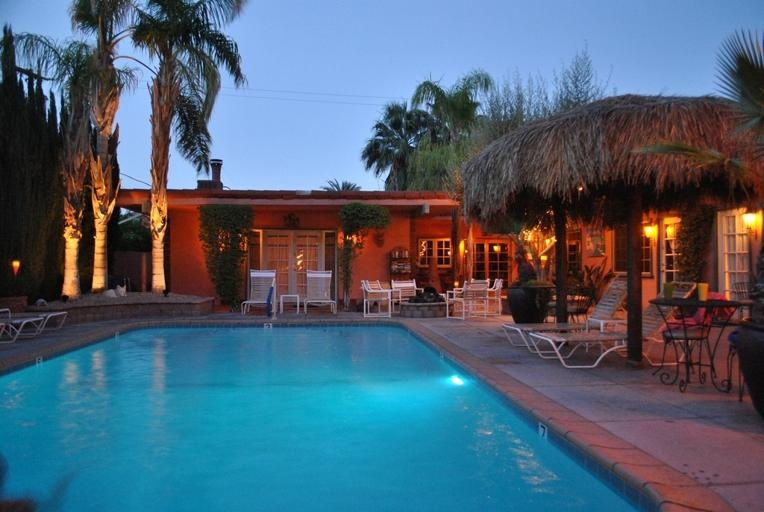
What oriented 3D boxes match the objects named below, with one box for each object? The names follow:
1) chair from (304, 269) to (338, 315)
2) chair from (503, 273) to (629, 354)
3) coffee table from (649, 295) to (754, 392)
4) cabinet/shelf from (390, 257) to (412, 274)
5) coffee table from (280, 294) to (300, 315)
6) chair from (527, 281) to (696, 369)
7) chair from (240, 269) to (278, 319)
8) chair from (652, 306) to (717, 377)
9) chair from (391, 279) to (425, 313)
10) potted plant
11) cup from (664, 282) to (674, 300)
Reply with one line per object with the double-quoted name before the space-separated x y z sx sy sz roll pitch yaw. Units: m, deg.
"chair" -1.881 1.244 19.154 0.968 1.367 1.721 0 -4 2
"chair" 3.340 1.096 11.075 2.243 1.345 1.173 -6 -2 7
"coffee table" 5.000 1.559 9.999 1.115 1.045 1.328 11 6 10
"cabinet/shelf" 0.543 0.337 18.995 0.457 0.451 0.184 0 -5 -3
"coffee table" -2.778 1.514 18.799 0.648 0.688 0.694 0 -6 -3
"chair" 3.788 1.286 10.494 2.530 1.405 1.462 2 -2 -13
"chair" -3.311 1.044 16.435 0.823 1.224 0.929 1 6 16
"chair" 4.880 1.273 9.791 0.708 0.898 0.760 -5 14 16
"chair" 0.641 1.134 17.398 0.738 1.068 0.691 -2 -13 1
"potted plant" 3.223 0.633 12.852 1.055 2.137 1.131 0 -18 21
"cup" 4.247 0.534 9.207 0.098 0.236 0.138 0 10 21
